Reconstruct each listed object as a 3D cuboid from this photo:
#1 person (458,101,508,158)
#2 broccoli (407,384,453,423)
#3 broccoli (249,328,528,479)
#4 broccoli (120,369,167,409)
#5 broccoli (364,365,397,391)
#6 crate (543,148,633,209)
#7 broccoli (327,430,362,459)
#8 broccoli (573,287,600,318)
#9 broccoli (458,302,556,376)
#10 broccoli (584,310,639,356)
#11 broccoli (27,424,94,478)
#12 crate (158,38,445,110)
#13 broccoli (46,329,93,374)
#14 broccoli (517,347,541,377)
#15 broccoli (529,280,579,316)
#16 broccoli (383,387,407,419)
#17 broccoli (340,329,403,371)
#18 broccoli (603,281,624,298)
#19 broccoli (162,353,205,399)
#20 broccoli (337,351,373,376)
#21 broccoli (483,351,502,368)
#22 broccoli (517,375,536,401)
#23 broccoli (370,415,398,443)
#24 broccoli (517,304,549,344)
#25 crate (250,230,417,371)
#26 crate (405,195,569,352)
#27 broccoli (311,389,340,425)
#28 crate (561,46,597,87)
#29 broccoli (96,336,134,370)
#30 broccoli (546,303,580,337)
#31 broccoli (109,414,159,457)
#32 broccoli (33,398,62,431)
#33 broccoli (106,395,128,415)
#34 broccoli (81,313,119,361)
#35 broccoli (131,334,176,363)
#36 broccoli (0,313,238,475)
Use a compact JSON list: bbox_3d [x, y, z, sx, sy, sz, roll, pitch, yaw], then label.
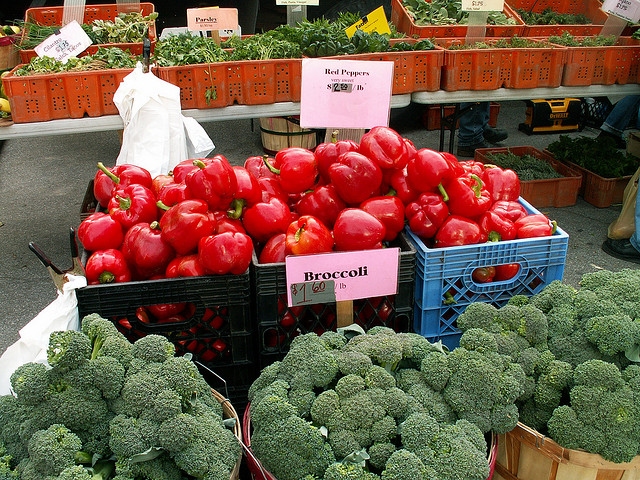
[{"bbox_3d":[2.087,-1.431,5.463,0.513,0.675,0.913,12,24,30],"label":"person"},{"bbox_3d":[0.349,0.504,1.306,0.128,0.095,0.129,-1,16,0],"label":"broccoli"},{"bbox_3d":[0.215,0.387,1.334,0.659,0.381,0.532,6,-1,3],"label":"broccoli"},{"bbox_3d":[-0.491,0.412,1.161,0.114,0.081,0.132,-10,14,-28],"label":"broccoli"},{"bbox_3d":[0.188,0.430,1.304,0.063,0.037,0.076,9,14,-17],"label":"broccoli"},{"bbox_3d":[2.852,-0.653,4.587,0.668,0.538,0.494,-5,24,-6],"label":"crate"},{"bbox_3d":[0.072,0.581,1.204,0.073,0.033,0.075,-13,46,-15],"label":"broccoli"},{"bbox_3d":[1.016,0.239,1.605,0.073,0.051,0.096,19,7,-23],"label":"broccoli"},{"bbox_3d":[0.677,0.372,1.554,0.261,0.107,0.270,6,41,-5],"label":"broccoli"},{"bbox_3d":[1.053,0.328,1.498,0.183,0.105,0.113,-5,32,-6],"label":"broccoli"},{"bbox_3d":[-0.691,0.575,1.130,0.102,0.138,0.080,-30,13,-16],"label":"broccoli"},{"bbox_3d":[-0.164,-1.361,3.546,2.250,0.376,0.248,-6,32,-8],"label":"crate"},{"bbox_3d":[-0.693,0.308,1.162,0.093,0.094,0.070,2,32,4],"label":"broccoli"},{"bbox_3d":[0.739,0.427,1.476,0.074,0.097,0.051,2,-17,-11],"label":"broccoli"},{"bbox_3d":[0.927,0.222,1.656,0.149,0.065,0.150,-29,29,-9],"label":"broccoli"},{"bbox_3d":[0.231,0.491,1.298,0.065,0.069,0.079,5,32,9],"label":"broccoli"},{"bbox_3d":[0.187,0.324,1.456,0.201,0.119,0.179,-11,17,-32],"label":"broccoli"},{"bbox_3d":[1.152,0.192,1.644,0.038,0.022,0.048,-22,34,-12],"label":"broccoli"},{"bbox_3d":[-0.410,0.426,1.269,0.102,0.153,0.106,-13,34,-19],"label":"broccoli"},{"bbox_3d":[0.101,0.384,1.334,0.068,0.046,0.083,2,-3,41],"label":"broccoli"},{"bbox_3d":[0.565,0.387,1.385,0.050,0.029,0.040,33,46,31],"label":"broccoli"},{"bbox_3d":[0.719,0.509,1.490,0.049,0.088,0.069,21,-3,18],"label":"broccoli"},{"bbox_3d":[0.186,0.551,1.223,0.056,0.033,0.068,3,31,5],"label":"broccoli"},{"bbox_3d":[0.786,0.317,1.569,0.102,0.062,0.134,7,68,-5],"label":"broccoli"},{"bbox_3d":[-0.004,0.255,1.822,0.613,0.536,0.521,-1,23,-20],"label":"crate"},{"bbox_3d":[0.685,0.107,2.080,0.611,0.546,0.635,-4,21,-9],"label":"crate"},{"bbox_3d":[0.032,0.505,1.302,0.091,0.045,0.123,-19,-11,-28],"label":"broccoli"},{"bbox_3d":[2.409,-1.606,3.871,0.237,0.250,0.368,0,27,2],"label":"crate"},{"bbox_3d":[-0.596,0.325,1.234,0.082,0.052,0.098,16,10,1],"label":"broccoli"},{"bbox_3d":[0.923,0.315,1.609,0.122,0.060,0.094,-15,34,-19],"label":"broccoli"},{"bbox_3d":[-0.502,0.524,1.123,0.132,0.069,0.079,4,32,7],"label":"broccoli"},{"bbox_3d":[-0.738,0.471,1.162,0.065,0.039,0.083,-13,43,20],"label":"broccoli"},{"bbox_3d":[-0.572,0.450,1.167,0.042,0.019,0.057,-10,11,-20],"label":"broccoli"},{"bbox_3d":[-0.662,0.273,1.307,0.107,0.143,0.119,18,13,-18],"label":"broccoli"},{"bbox_3d":[-0.505,0.323,1.310,0.078,0.057,0.097,6,3,10],"label":"broccoli"},{"bbox_3d":[-0.554,0.453,1.252,0.571,0.312,0.446,8,9,-8],"label":"broccoli"}]
